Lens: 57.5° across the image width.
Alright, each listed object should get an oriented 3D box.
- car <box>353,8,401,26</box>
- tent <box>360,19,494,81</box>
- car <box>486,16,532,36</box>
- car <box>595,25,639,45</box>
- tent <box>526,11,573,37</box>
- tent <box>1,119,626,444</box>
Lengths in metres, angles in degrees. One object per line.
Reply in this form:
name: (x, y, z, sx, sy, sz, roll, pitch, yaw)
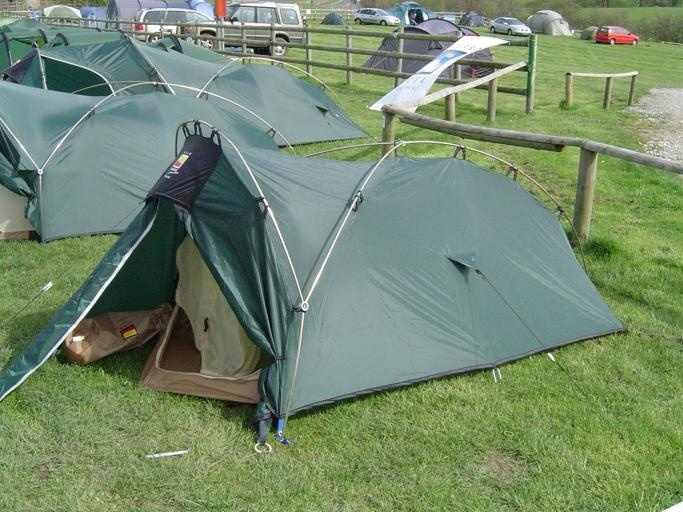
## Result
car: (2.207, -15.353, 39.977, 3.125, 1.112, 1.538, 20, 40, 36)
tent: (2.359, -5.404, 16.071, 3.150, 1.456, 3.082, -16, 24, -37)
car: (9.874, -13.480, 36.411, 1.219, 0.905, 2.581, -10, 25, -30)
car: (15.357, -12.340, 34.811, 2.573, 0.865, 1.052, -6, 23, -22)
tent: (12.783, -14.362, 38.849, 2.039, 0.976, 2.732, -23, 42, -23)
tent: (-0.074, -0.019, 5.504, 4.762, 2.114, 1.748, -4, 22, -17)
